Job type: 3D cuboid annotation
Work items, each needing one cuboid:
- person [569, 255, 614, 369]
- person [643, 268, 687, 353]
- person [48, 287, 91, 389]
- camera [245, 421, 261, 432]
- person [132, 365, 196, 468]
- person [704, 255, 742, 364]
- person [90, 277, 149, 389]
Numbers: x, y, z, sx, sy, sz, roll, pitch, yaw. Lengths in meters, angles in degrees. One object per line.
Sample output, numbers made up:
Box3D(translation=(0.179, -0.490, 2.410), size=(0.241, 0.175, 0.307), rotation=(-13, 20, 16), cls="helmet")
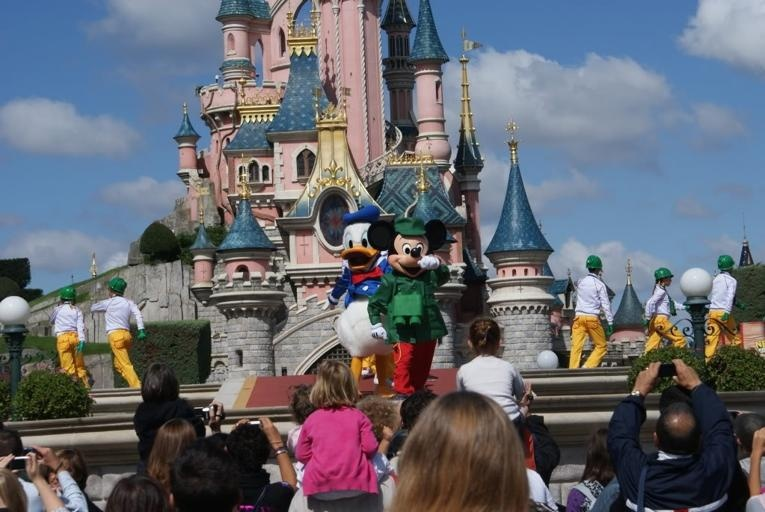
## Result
Box3D(translation=(4.602, 1.302, 43.944), size=(0.974, 2.479, 1.143), rotation=(4, 3, 37), cls="person")
Box3D(translation=(5.980, 1.124, 43.596), size=(0.835, 1.683, 1.313), rotation=(-4, -2, 7), cls="person")
Box3D(translation=(-6.547, 1.815, 43.222), size=(1.145, 2.350, 0.724), rotation=(-8, -8, 41), cls="person")
Box3D(translation=(-2.169, 2.899, 34.925), size=(0.241, 0.168, 0.242), rotation=(-3, -2, -5), cls="camera")
Box3D(translation=(-3.791, 2.813, 35.825), size=(1.080, 1.859, 0.601), rotation=(-3, -2, -6), cls="person")
Box3D(translation=(7.143, 1.147, 42.842), size=(0.750, 2.324, 1.217), rotation=(12, 19, 42), cls="person")
Box3D(translation=(-5.470, 1.692, 43.141), size=(1.338, 2.402, 0.644), rotation=(-2, 1, 43), cls="person")
